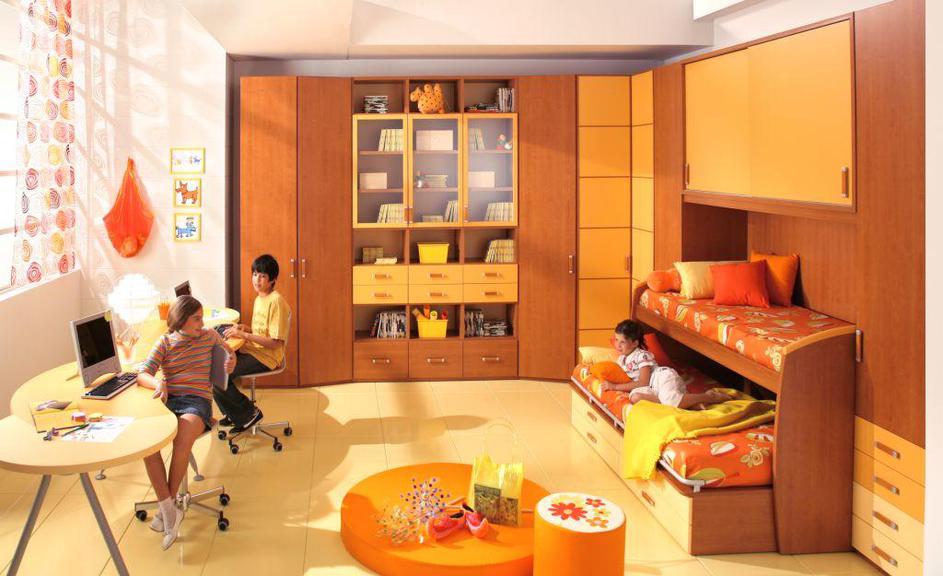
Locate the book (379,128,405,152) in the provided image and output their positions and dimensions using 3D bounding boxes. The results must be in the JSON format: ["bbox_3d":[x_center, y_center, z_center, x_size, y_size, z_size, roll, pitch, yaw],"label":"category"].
[{"bbox_3d":[-0.898,-1.698,7.833,0.357,0.314,0.253,1,0,4],"label":"book"}]

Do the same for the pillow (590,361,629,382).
[{"bbox_3d":[1.268,0.777,6.226,0.223,0.089,0.214,0,16,-18],"label":"pillow"}]

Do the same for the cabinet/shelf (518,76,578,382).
[{"bbox_3d":[0.905,-0.707,7.863,0.715,3.481,0.272,-1,9,6],"label":"cabinet/shelf"}]

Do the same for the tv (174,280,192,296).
[{"bbox_3d":[-2.849,0.000,6.541,0.132,0.156,0.180,0,7,11],"label":"tv"}]

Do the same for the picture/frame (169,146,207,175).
[{"bbox_3d":[-3.257,-1.463,7.576,0.362,0.265,0.029,0,2,-6],"label":"picture/frame"}]

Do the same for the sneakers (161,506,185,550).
[{"bbox_3d":[-2.178,1.740,4.900,0.120,0.322,0.136,1,-4,15],"label":"sneakers"}]

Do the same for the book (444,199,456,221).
[{"bbox_3d":[-0.236,-0.918,7.842,0.073,0.218,0.174,12,-2,-31],"label":"book"}]

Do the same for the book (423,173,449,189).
[{"bbox_3d":[-0.437,-1.257,7.811,0.260,0.115,0.197,0,8,-4],"label":"book"}]

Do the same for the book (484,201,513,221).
[{"bbox_3d":[0.301,-0.877,7.960,0.409,0.345,0.211,1,-1,0],"label":"book"}]

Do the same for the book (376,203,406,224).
[{"bbox_3d":[-0.913,-0.863,7.857,0.403,0.346,0.214,1,-3,0],"label":"book"}]

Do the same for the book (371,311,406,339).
[{"bbox_3d":[-0.978,0.442,7.946,0.323,0.369,0.412,0,4,4],"label":"book"}]

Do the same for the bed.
[{"bbox_3d":[1.918,0.446,5.527,1.633,1.683,2.976,0,9,-7],"label":"bed"}]

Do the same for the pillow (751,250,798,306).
[{"bbox_3d":[2.790,-0.068,6.087,0.295,0.475,0.526,2,2,-26],"label":"pillow"}]

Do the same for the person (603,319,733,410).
[{"bbox_3d":[1.744,0.721,6.018,1.421,0.578,0.533,16,15,35],"label":"person"}]

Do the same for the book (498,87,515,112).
[{"bbox_3d":[0.450,-2.202,7.779,0.264,0.321,0.249,1,7,9],"label":"book"}]

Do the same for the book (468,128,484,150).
[{"bbox_3d":[0.057,-1.741,7.766,0.250,0.226,0.053,3,-29,-2],"label":"book"}]

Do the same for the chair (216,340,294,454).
[{"bbox_3d":[-2.131,1.095,6.712,0.853,0.922,0.864,0,4,-20],"label":"chair"}]

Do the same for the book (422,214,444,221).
[{"bbox_3d":[-0.455,-0.829,7.863,0.163,0.091,0.083,2,14,2],"label":"book"}]

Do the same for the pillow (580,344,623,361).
[{"bbox_3d":[1.262,0.651,6.621,0.234,0.069,0.240,-1,10,-6],"label":"pillow"}]

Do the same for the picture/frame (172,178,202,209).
[{"bbox_3d":[-3.268,-1.100,7.606,0.389,0.365,0.029,0,2,-8],"label":"picture/frame"}]

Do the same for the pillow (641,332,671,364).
[{"bbox_3d":[1.810,0.597,6.517,0.215,0.109,0.326,-8,53,-25],"label":"pillow"}]
